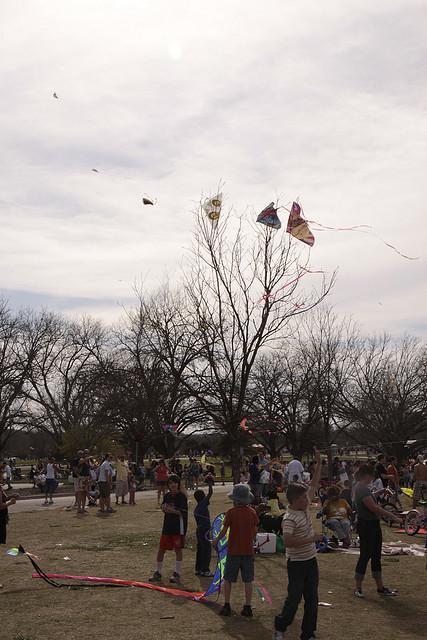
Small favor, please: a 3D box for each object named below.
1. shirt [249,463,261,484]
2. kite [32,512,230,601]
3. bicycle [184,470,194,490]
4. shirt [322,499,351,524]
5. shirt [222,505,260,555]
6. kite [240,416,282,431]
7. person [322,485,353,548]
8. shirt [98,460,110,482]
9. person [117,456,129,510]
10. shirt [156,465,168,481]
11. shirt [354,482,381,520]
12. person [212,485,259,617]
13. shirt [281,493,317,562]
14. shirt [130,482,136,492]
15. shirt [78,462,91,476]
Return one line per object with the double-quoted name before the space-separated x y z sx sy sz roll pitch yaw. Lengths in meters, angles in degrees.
"shirt" 1.084 4.030 16.663 0.265 0.568 0.447 0 -8 4
"kite" -0.984 3.178 8.722 2.757 0.947 1.012 -9 -8 22
"bicycle" -1.108 7.301 28.773 0.565 0.536 0.914 2 -8 -5
"shirt" 2.383 3.646 12.325 0.657 0.551 0.353 0 -15 0
"shirt" 0.304 2.382 7.234 0.398 0.527 0.214 1 -9 -5
"kite" 1.234 2.564 16.816 1.050 0.250 0.922 -1 -43 -3
"person" 2.366 3.751 12.218 0.526 1.112 0.462 0 -9 7
"shirt" -3.059 4.217 17.733 0.272 0.645 0.569 2 -8 -10
"person" -2.906 5.099 20.479 0.526 1.533 0.442 10 -22 -33
"shirt" -1.573 4.642 19.283 0.287 0.503 0.470 2 -8 -7
"shirt" 1.901 2.256 7.919 0.278 0.455 0.383 -1 -9 12
"person" 0.267 2.616 7.209 0.447 1.471 0.335 0 -9 3
"shirt" 0.825 1.987 6.119 0.308 0.627 0.336 0 -9 5
"shirt" -2.684 5.434 20.606 0.231 0.282 0.227 -3 -3 14
"shirt" -3.569 4.119 17.525 0.214 0.402 0.648 -1 -8 10
